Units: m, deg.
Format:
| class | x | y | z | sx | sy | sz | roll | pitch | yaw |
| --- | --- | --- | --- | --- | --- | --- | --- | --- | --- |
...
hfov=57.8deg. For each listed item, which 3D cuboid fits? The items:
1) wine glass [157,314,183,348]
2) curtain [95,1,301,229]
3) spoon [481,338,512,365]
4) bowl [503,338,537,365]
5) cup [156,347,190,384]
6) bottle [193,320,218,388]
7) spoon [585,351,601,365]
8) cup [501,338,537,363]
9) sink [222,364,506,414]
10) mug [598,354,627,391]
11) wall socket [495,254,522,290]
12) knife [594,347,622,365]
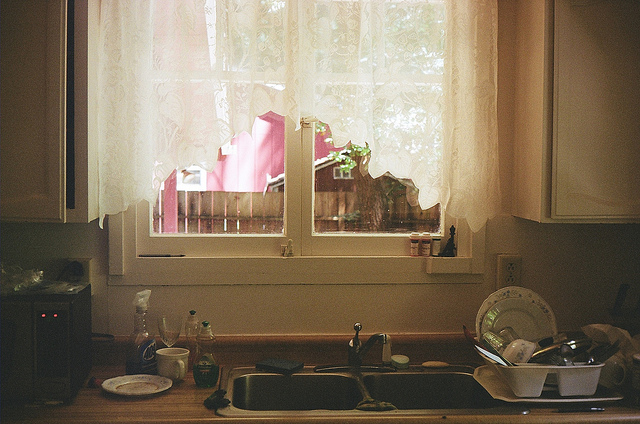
| class | x | y | z | sx | sy | sz | roll | pitch | yaw |
| --- | --- | --- | --- | --- | --- | --- | --- | --- | --- |
| wine glass | -0.685 | 0.531 | 2.659 | 0.114 | 0.146 | 0.169 | -2 | 4 | -17 |
| curtain | -0.565 | -0.469 | 2.582 | 0.945 | 1.322 | 0.100 | 0 | 0 | -6 |
| spoon | 0.756 | 0.589 | 2.491 | 0.031 | 0.035 | 0.156 | 37 | 10 | -50 |
| bowl | 0.838 | 0.586 | 2.430 | 0.098 | 0.063 | 0.098 | -20 | -27 | -11 |
| cup | -0.634 | 0.679 | 2.533 | 0.124 | 0.134 | 0.182 | 4 | 1 | -26 |
| bottle | -0.517 | 0.617 | 2.525 | 0.133 | 0.269 | 0.082 | 2 | 5 | 43 |
| spoon | 1.144 | 0.610 | 2.430 | 0.051 | 0.021 | 0.044 | -12 | -4 | -25 |
| cup | 0.838 | 0.569 | 2.436 | 0.098 | 0.062 | 0.096 | -15 | 2 | 1 |
| sink | 0.177 | 0.794 | 2.507 | 1.149 | 0.203 | 0.357 | -1 | 4 | -3 |
| mug | 1.249 | 0.688 | 2.503 | 0.124 | 0.103 | 0.122 | 0 | -5 | 7 |
| wall socket | 0.912 | 0.285 | 2.802 | 0.132 | 0.166 | 0.032 | -1 | 3 | -9 |
| knife | 1.205 | 0.605 | 2.442 | 0.119 | 0.028 | 0.014 | -36 | 4 | -4 |
